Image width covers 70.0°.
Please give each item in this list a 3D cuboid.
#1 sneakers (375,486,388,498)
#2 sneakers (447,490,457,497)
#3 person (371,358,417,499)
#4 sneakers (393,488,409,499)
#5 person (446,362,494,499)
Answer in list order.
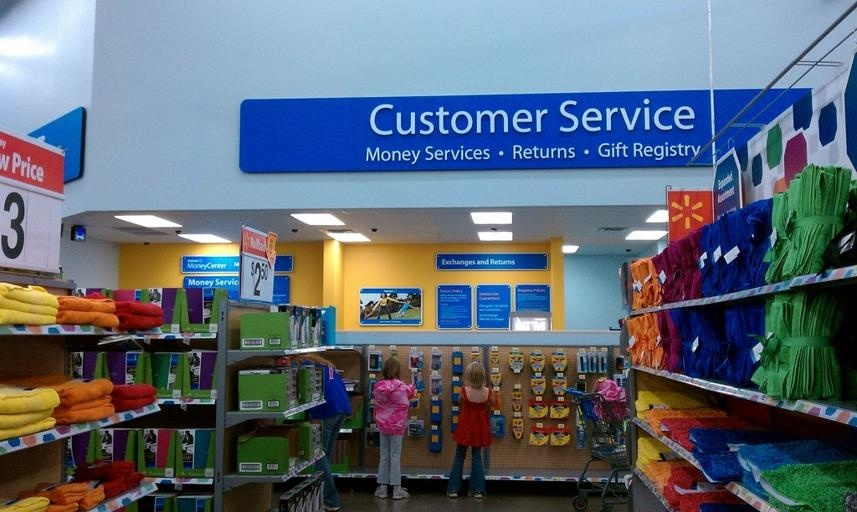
[{"bbox_3d":[-0.644,3.215,8.304,0.099,0.153,0.233,3,-6,-3],"label":"sneakers"},{"bbox_3d":[0.302,3.194,8.202,0.135,0.110,0.140,0,-9,3],"label":"sneakers"},{"bbox_3d":[-0.521,2.362,8.437,0.553,1.871,0.596,4,-10,-24],"label":"person"},{"bbox_3d":[-0.392,3.207,8.319,0.227,0.167,0.159,1,-9,-5],"label":"sneakers"},{"bbox_3d":[0.536,2.350,8.286,0.601,1.802,0.336,0,-10,2],"label":"person"}]
